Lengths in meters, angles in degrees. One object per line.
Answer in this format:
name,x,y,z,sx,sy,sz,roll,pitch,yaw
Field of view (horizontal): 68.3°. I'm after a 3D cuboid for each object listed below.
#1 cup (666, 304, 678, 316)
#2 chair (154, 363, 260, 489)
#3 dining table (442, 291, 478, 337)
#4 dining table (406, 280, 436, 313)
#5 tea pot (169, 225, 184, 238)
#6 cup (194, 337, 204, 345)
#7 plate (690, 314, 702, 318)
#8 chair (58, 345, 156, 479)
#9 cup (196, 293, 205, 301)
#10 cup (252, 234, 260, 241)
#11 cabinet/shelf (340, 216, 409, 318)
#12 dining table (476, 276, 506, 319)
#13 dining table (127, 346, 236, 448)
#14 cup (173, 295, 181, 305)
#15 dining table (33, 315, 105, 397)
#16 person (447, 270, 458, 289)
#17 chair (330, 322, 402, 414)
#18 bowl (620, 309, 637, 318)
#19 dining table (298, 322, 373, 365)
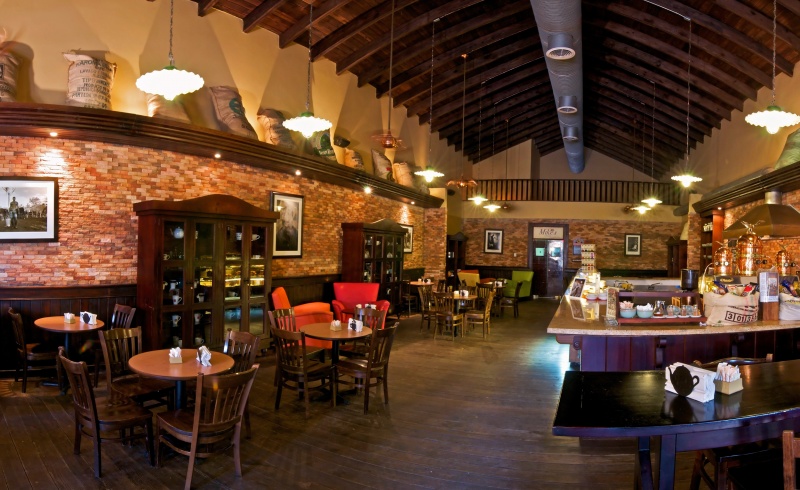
cup,4.115,0.976,8.896,0.186,0.153,0.183,0,-2,0
chair,-2.590,2.390,8.011,1.440,1.605,0.819,-1,-2,30
dining table,1.369,1.636,13.912,0.979,0.978,0.727,5,7,42
dining table,0.544,1.314,14.897,0.842,0.772,0.858,3,4,41
tea pot,-3.931,-0.223,10.394,0.195,0.236,0.320,-1,-2,35
cup,-3.664,1.733,10.673,0.163,0.107,0.118,3,-6,-17
plate,4.429,1.043,8.799,0.166,0.054,0.071,0,-2,-13
chair,-4.056,2.267,8.085,1.301,1.652,0.719,0,-2,-4
cup,-3.626,0.922,10.655,0.122,0.127,0.142,-1,0,35
cup,-2.808,-0.163,11.390,0.131,0.086,0.098,1,1,-5
cabinet/shelf,-0.707,0.494,14.287,0.796,2.627,2.716,-2,-5,18
dining table,2.727,1.434,17.022,1.105,1.066,1.062,0,-3,-2
dining table,-3.282,2.057,8.356,1.085,0.686,1.042,9,15,-2
cup,-3.958,0.952,10.386,0.099,0.140,0.156,-9,-11,38
dining table,-5.603,1.658,9.768,1.060,0.719,1.019,9,-6,-29
person,1.763,1.118,19.947,0.400,0.605,0.841,-1,-2,4
chair,-0.585,1.977,9.917,0.935,1.326,1.255,0,-2,-6
bowl,3.450,1.026,8.901,0.166,0.075,0.160,2,-1,0
dining table,-1.112,1.524,9.858,0.847,0.550,0.817,5,2,3
